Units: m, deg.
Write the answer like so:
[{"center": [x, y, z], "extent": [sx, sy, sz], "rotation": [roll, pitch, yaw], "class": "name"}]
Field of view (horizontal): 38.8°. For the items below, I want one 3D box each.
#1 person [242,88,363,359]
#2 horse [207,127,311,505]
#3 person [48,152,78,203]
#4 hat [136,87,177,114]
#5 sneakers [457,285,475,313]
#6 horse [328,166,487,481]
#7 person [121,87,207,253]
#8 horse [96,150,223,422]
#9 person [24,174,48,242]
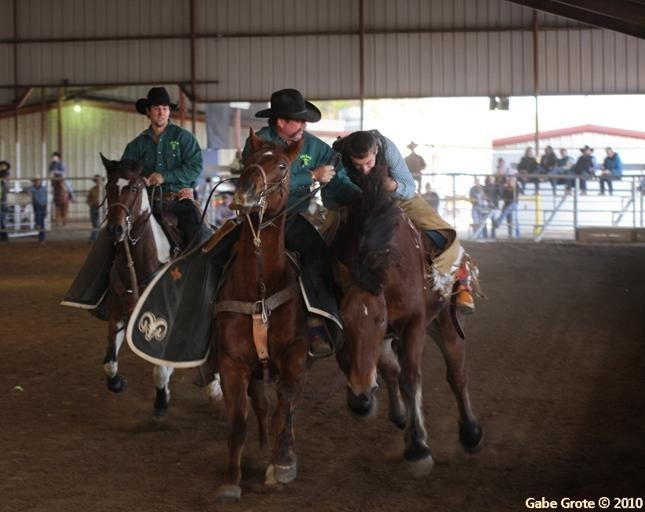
[{"center": [-0.140, -0.354, 8.248], "extent": [0.750, 2.198, 0.770], "rotation": [-10, 13, -5], "class": "person"}, {"center": [-0.532, 0.471, 7.689], "extent": [0.786, 2.975, 0.805], "rotation": [-2, 11, -8], "class": "horse"}, {"center": [-6.323, -1.905, 22.075], "extent": [0.367, 1.592, 0.770], "rotation": [-9, 13, -15], "class": "person"}, {"center": [-1.770, -1.655, 9.628], "extent": [0.388, 0.308, 0.603], "rotation": [-4, 15, -15], "class": "hat"}, {"center": [1.300, 0.434, 8.442], "extent": [0.146, 0.104, 0.261], "rotation": [4, 49, -21], "class": "sneakers"}, {"center": [0.666, 0.523, 8.046], "extent": [1.341, 2.541, 1.036], "rotation": [-7, 13, -31], "class": "horse"}, {"center": [-1.721, -0.697, 9.653], "extent": [0.752, 2.127, 0.785], "rotation": [-1, 7, 5], "class": "person"}, {"center": [-1.840, 0.289, 8.954], "extent": [0.746, 2.530, 0.770], "rotation": [-1, 11, -7], "class": "horse"}, {"center": [-6.173, -1.039, 19.802], "extent": [0.428, 1.430, 0.833], "rotation": [-4, 12, -19], "class": "person"}]
